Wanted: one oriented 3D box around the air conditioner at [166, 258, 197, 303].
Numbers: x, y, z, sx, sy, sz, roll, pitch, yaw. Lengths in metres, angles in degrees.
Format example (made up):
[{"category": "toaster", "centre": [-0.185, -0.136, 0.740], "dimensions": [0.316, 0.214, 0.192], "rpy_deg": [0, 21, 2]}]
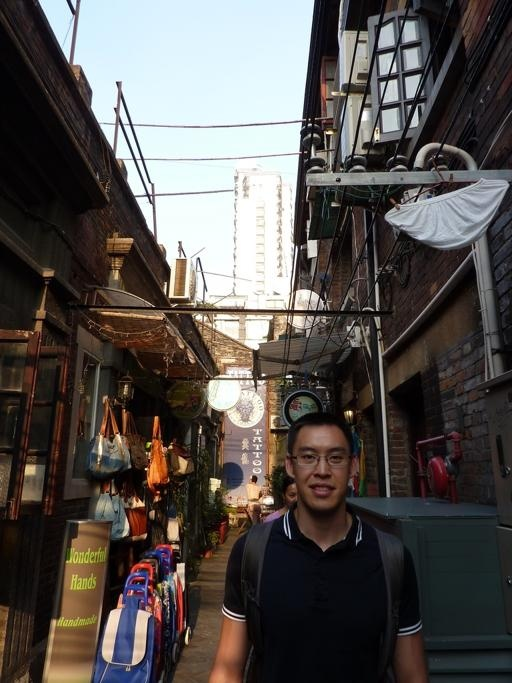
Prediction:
[{"category": "air conditioner", "centre": [-2.180, -1.428, 12.884], "dimensions": [0.509, 1.421, 1.515], "rpy_deg": [2, -29, -5]}]
